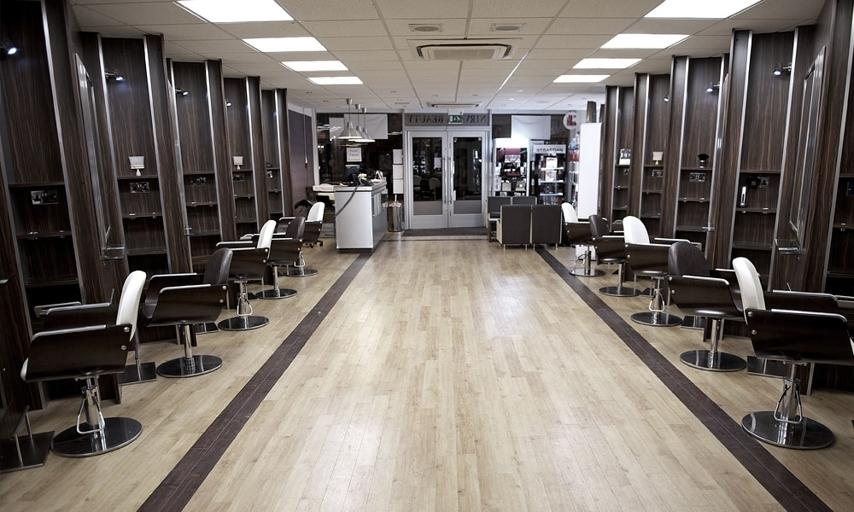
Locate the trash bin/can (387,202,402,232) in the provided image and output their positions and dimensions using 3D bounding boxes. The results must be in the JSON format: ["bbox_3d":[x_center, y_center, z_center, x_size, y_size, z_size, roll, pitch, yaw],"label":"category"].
[{"bbox_3d":[-0.942,-1.215,16.370,0.482,0.818,0.934,-2,9,-3],"label":"trash bin/can"}]

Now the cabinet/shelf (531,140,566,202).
[{"bbox_3d":[3.942,-2.514,16.943,0.928,1.712,0.300,2,11,22],"label":"cabinet/shelf"}]

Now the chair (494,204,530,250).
[{"bbox_3d":[2.393,-0.671,12.927,1.128,1.027,1.104,2,3,17],"label":"chair"}]

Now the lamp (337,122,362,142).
[{"bbox_3d":[-1.774,-2.967,12.845,0.481,0.380,0.896,-2,8,-4],"label":"lamp"}]

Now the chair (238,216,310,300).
[{"bbox_3d":[-2.686,0.014,9.562,0.940,1.320,1.102,-12,13,-37],"label":"chair"}]

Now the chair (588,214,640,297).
[{"bbox_3d":[3.441,0.057,9.270,1.064,1.388,1.304,0,1,7],"label":"chair"}]

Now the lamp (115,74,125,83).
[{"bbox_3d":[-4.589,-2.634,8.043,0.113,0.096,0.102,2,10,23],"label":"lamp"}]

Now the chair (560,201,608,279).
[{"bbox_3d":[3.146,-0.306,10.598,0.862,1.243,1.058,3,3,31],"label":"chair"}]

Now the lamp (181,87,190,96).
[{"bbox_3d":[-4.140,-2.807,9.236,0.186,0.058,0.251,2,-2,-31],"label":"lamp"}]

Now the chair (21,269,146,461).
[{"bbox_3d":[-3.563,1.142,5.689,1.092,1.821,0.576,-3,10,-6],"label":"chair"}]

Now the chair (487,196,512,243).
[{"bbox_3d":[2.000,-1.081,14.773,0.806,0.997,0.736,-3,22,-4],"label":"chair"}]

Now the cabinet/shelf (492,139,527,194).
[{"bbox_3d":[2.627,-2.775,16.695,1.233,1.723,0.797,-3,10,-8],"label":"cabinet/shelf"}]

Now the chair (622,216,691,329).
[{"bbox_3d":[3.581,0.248,8.384,1.200,1.542,1.299,-2,-2,12],"label":"chair"}]

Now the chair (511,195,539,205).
[{"bbox_3d":[2.690,-1.543,14.936,0.513,0.316,0.258,2,28,6],"label":"chair"}]

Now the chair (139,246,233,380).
[{"bbox_3d":[-3.154,0.709,7.013,1.185,1.561,1.259,-3,2,-24],"label":"chair"}]

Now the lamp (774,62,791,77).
[{"bbox_3d":[5.168,-2.696,7.855,0.216,0.196,0.160,1,10,14],"label":"lamp"}]
